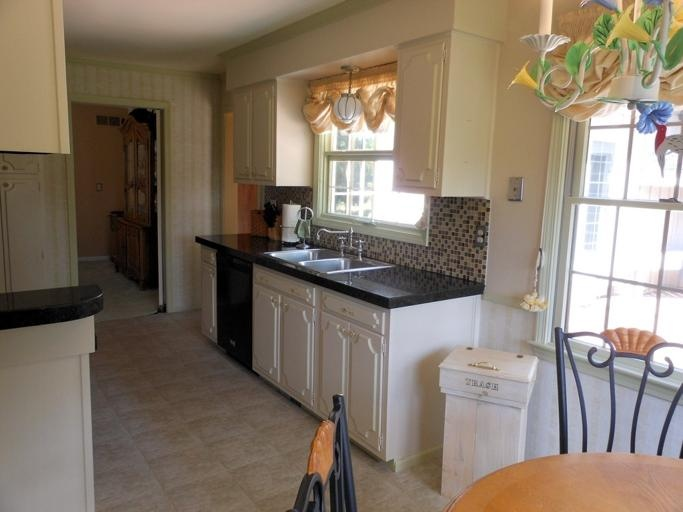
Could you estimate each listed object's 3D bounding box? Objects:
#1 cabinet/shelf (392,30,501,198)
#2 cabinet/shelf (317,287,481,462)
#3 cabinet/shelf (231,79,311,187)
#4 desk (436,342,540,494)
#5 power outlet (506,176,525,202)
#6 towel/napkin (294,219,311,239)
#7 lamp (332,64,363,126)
[{"bbox_3d":[0.647,-0.897,3.267,0.612,0.946,0.636,0,14,4],"label":"cabinet/shelf"},{"bbox_3d":[0.340,0.675,3.492,0.872,1.151,0.902,12,17,36],"label":"cabinet/shelf"},{"bbox_3d":[-0.590,-1.095,4.539,0.456,0.931,0.907,-3,6,-29],"label":"cabinet/shelf"},{"bbox_3d":[0.834,0.979,3.012,0.516,0.868,0.488,4,12,9],"label":"desk"},{"bbox_3d":[1.039,-0.402,3.087,0.019,0.188,0.129,-5,10,-36],"label":"power outlet"},{"bbox_3d":[-0.322,-0.242,4.506,0.134,0.194,0.158,4,14,5],"label":"towel/napkin"},{"bbox_3d":[0.030,-1.221,3.964,0.174,0.425,0.287,-5,14,-23],"label":"lamp"}]
